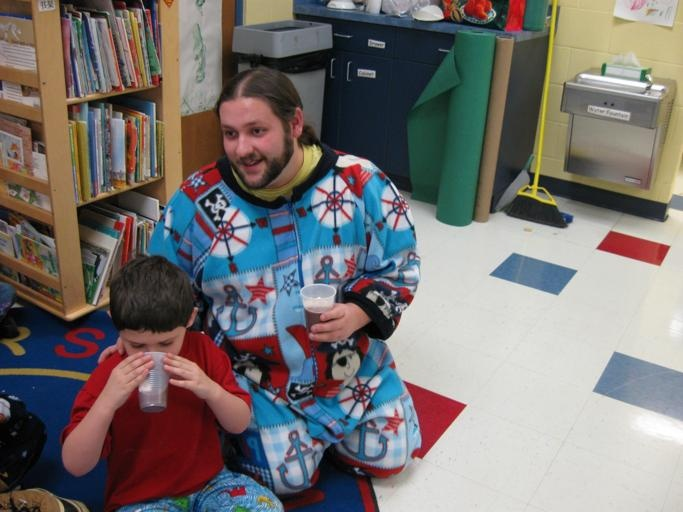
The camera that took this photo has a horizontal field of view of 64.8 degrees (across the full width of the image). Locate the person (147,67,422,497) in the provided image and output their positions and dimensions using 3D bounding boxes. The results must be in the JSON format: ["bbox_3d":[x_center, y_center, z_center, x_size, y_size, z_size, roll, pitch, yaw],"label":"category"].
[{"bbox_3d":[-0.188,0.137,1.959,0.989,1.594,0.843,-3,33,1],"label":"person"}]

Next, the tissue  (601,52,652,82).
[{"bbox_3d":[1.976,-1.313,3.716,0.317,0.142,0.277,20,36,26],"label":"tissue "}]

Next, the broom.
[{"bbox_3d":[1.629,-1.075,4.032,0.479,1.465,0.744,14,31,20],"label":"broom"}]

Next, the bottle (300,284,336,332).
[{"bbox_3d":[-0.081,0.148,1.678,0.108,0.144,0.119,2,23,-2],"label":"bottle"}]
